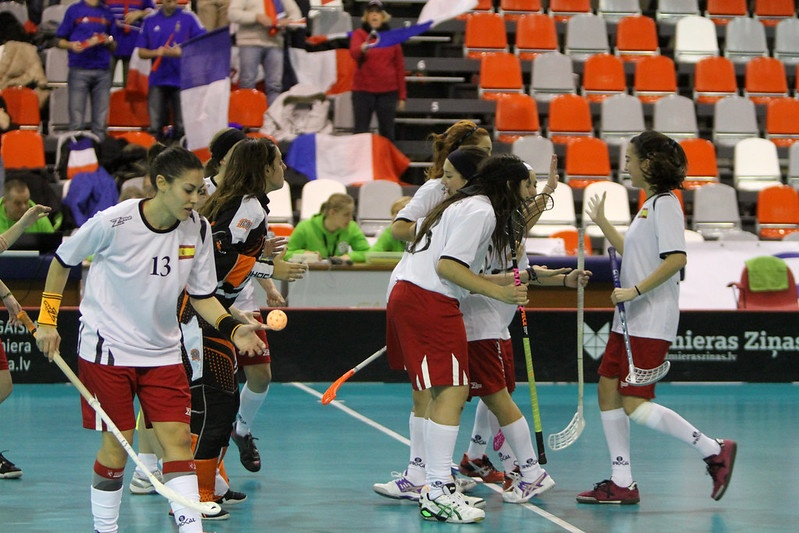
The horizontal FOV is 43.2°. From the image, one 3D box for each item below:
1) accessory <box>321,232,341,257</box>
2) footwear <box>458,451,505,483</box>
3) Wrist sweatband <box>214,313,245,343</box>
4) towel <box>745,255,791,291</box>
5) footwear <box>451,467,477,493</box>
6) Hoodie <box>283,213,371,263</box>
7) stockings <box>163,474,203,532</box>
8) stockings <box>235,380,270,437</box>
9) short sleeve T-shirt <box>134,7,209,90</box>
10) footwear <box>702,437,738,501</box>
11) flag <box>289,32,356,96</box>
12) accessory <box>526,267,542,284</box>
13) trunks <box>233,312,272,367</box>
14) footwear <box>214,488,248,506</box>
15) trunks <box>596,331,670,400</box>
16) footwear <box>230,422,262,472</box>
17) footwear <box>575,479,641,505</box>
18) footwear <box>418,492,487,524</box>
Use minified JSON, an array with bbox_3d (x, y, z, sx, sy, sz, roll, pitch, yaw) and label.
[{"bbox_3d":[-0.856,-0.287,12.683,0.269,0.274,0.098,-1,-2,-1],"label":"accessory"},{"bbox_3d":[0.751,1.857,9.354,0.503,0.235,0.177,17,-10,-3],"label":"footwear"},{"bbox_3d":[-1.316,0.458,7.756,0.198,0.199,0.187,-2,9,-9],"label":"Wrist sweatband"},{"bbox_3d":[4.723,0.096,12.946,0.526,0.428,0.196,-1,10,-8],"label":"towel"},{"bbox_3d":[0.557,1.914,9.070,0.127,0.175,0.389,12,-2,35],"label":"footwear"},{"bbox_3d":[-0.896,-0.339,12.834,0.725,0.320,0.737,1,17,-1],"label":"Hoodie"},{"bbox_3d":[-1.636,1.784,7.615,0.251,0.429,0.200,-2,10,-14],"label":"stockings"},{"bbox_3d":[-1.402,1.322,9.326,0.203,0.661,0.184,22,23,-14],"label":"stockings"},{"bbox_3d":[-3.331,-3.195,14.709,1.430,1.522,0.547,0,1,-10],"label":"short sleeve T-shirt"},{"bbox_3d":[2.781,1.727,8.719,0.256,0.583,0.196,6,9,-6],"label":"footwear"},{"bbox_3d":[-1.210,-3.159,15.982,1.022,0.901,0.817,1,-6,-5],"label":"flag"},{"bbox_3d":[1.179,0.075,8.918,0.078,0.120,0.109,-6,6,-38],"label":"accessory"},{"bbox_3d":[-1.307,0.748,9.104,0.369,0.655,0.267,-2,3,-10],"label":"trunks"},{"bbox_3d":[-1.451,1.977,8.700,0.269,0.121,0.093,-1,0,-15],"label":"footwear"},{"bbox_3d":[2.012,0.850,8.755,0.477,0.265,0.655,-5,4,-28],"label":"trunks"},{"bbox_3d":[-1.409,1.697,9.342,0.200,0.481,0.177,-23,0,43],"label":"footwear"},{"bbox_3d":[1.826,1.966,8.854,0.546,0.221,0.214,2,-9,0],"label":"footwear"},{"bbox_3d":[0.459,1.984,8.403,0.576,0.278,0.223,1,-2,5],"label":"footwear"}]
